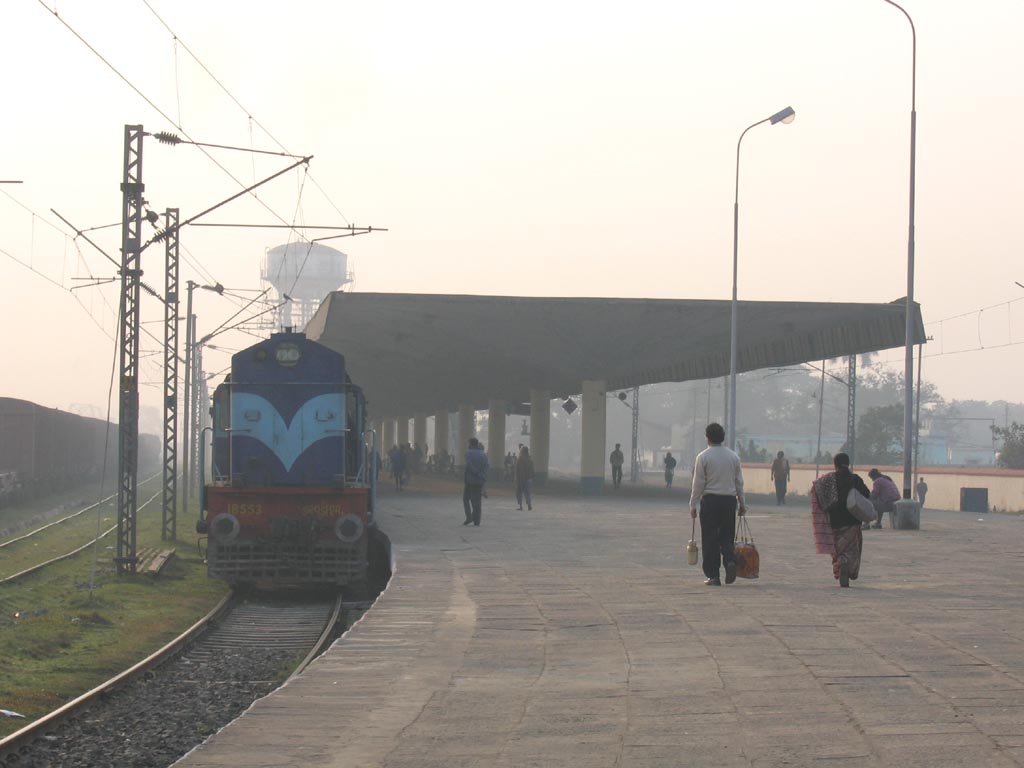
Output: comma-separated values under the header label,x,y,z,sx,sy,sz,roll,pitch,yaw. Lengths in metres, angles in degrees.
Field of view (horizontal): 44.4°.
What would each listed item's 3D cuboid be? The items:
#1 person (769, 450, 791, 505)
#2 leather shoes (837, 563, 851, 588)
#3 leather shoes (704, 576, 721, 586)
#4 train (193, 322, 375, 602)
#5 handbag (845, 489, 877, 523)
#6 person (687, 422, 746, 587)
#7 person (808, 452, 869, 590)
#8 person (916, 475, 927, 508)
label,x,y,z,sx,sy,sz,roll,pitch,yaw
person,8.698,3.052,40.781,0.445,1.698,2.541,-2,-1,11
leather shoes,4.413,2.581,16.732,0.114,0.374,0.156,1,41,12
leather shoes,2.733,2.679,16.993,0.131,0.091,0.133,5,-7,-27
train,-3.667,1.343,20.994,2.811,4.467,2.480,-2,0,-6
handbag,4.593,1.609,16.484,0.442,0.443,0.207,-2,0,-30
person,2.698,1.632,16.546,0.635,2.129,0.812,-2,0,13
person,4.417,1.842,16.873,0.752,1.750,0.978,-2,0,13
person,15.605,4.120,47.838,0.266,1.130,2.049,-2,-1,21
